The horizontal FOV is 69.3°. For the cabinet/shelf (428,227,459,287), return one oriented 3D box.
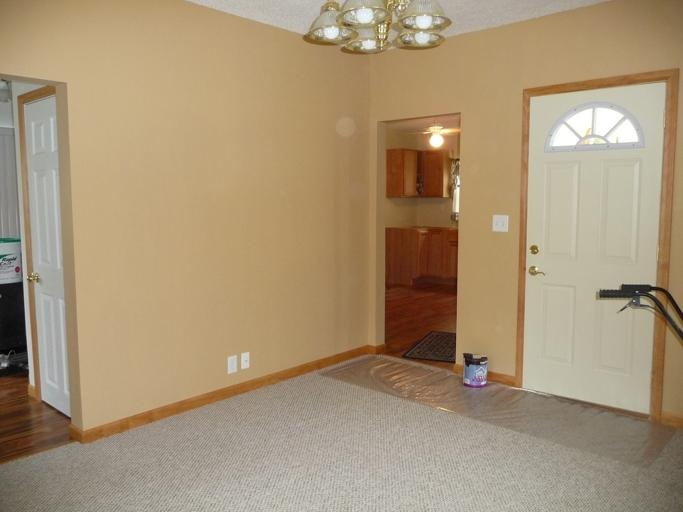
[{"bbox_3d":[1.866,-0.061,9.212,0.200,0.876,0.623,-9,14,-34],"label":"cabinet/shelf"}]

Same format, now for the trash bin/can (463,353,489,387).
[{"bbox_3d":[1.239,1.073,4.635,0.297,0.277,0.245,0,2,23],"label":"trash bin/can"}]

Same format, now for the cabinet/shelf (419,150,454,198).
[{"bbox_3d":[1.785,-1.593,9.523,0.662,0.879,0.334,3,12,14],"label":"cabinet/shelf"}]

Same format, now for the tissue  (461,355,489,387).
[{"bbox_3d":[1.255,1.069,4.633,0.297,0.275,0.244,0,3,18],"label":"tissue "}]

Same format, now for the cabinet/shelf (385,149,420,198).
[{"bbox_3d":[1.176,-1.561,9.385,0.595,0.904,0.400,0,12,2],"label":"cabinet/shelf"}]
